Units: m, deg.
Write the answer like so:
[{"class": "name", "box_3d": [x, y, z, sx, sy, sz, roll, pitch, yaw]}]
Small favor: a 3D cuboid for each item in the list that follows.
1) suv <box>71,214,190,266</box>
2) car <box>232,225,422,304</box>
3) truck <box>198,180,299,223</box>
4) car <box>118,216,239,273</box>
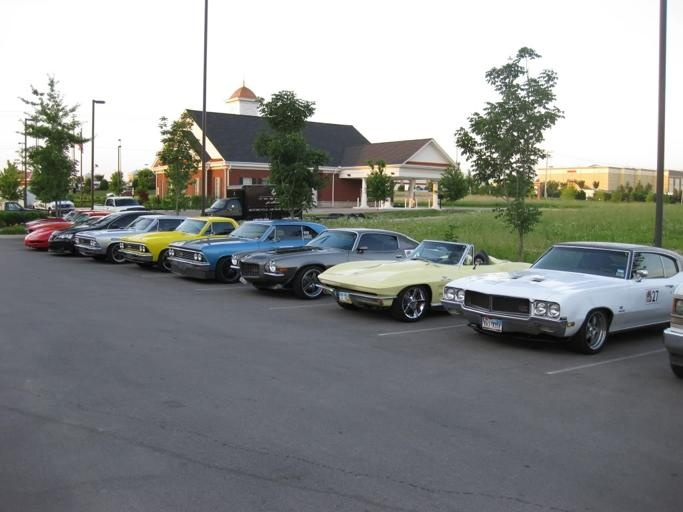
[{"class": "suv", "box_3d": [-7.336, -0.409, 19.638, 4.138, 1.384, 1.869, -4, 7, -32]}, {"class": "car", "box_3d": [-0.309, 0.006, 13.347, 3.446, 1.098, 2.027, -3, 4, -34]}, {"class": "truck", "box_3d": [-5.777, -3.391, 34.536, 4.788, 2.678, 2.338, -7, 20, -26]}, {"class": "car", "box_3d": [-5.169, -0.228, 17.683, 3.436, 1.335, 1.809, -4, 7, -33]}]
